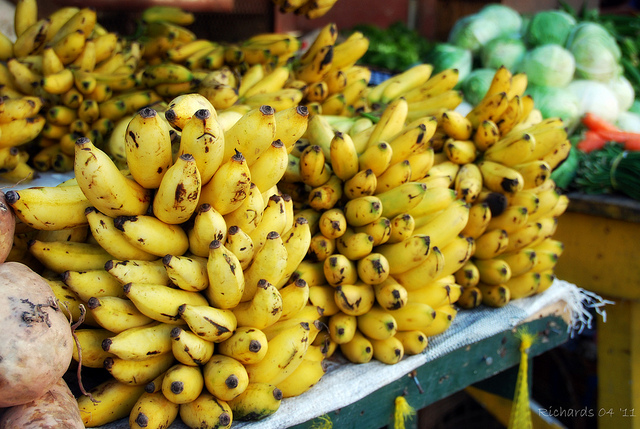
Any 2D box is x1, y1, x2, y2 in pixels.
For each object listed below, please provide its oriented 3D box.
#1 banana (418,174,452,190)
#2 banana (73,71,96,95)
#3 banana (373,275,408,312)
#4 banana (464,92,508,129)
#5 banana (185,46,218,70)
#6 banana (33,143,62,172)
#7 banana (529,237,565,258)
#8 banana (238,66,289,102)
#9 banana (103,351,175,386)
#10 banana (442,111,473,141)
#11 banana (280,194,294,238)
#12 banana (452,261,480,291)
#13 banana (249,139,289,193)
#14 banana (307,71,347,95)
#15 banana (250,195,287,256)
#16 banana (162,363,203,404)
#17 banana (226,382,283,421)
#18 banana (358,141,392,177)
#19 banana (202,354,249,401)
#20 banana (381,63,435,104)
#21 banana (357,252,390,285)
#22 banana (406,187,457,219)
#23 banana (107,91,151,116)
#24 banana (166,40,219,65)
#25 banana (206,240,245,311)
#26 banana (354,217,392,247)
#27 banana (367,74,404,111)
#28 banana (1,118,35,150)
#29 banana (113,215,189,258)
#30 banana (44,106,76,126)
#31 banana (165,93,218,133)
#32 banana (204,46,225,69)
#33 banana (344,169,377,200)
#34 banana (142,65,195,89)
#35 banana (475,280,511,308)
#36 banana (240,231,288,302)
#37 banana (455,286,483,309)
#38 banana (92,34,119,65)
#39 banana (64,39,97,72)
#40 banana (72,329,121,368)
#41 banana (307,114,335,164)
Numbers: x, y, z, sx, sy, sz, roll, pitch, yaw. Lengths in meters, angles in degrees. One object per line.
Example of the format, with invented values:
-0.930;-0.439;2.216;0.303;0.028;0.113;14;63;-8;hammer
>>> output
0.560;-0.153;2.782;0.211;0.074;0.058;-7;7;-22;banana
-1.333;-0.750;3.295;0.074;0.063;0.153;-26;47;-3;banana
0.353;0.365;2.672;0.119;0.118;0.289;-6;13;8;banana
0.825;-0.499;2.957;0.080;0.288;0.093;37;51;2;banana
-0.769;-1.016;3.776;0.139;0.107;0.276;20;38;4;banana
-1.630;-0.348;3.488;0.184;0.068;0.048;-44;39;-7;banana
1.205;0.176;3.056;0.181;0.074;0.093;1;5;0;banana
-0.337;-0.786;3.544;0.353;0.123;0.095;-35;56;-18;banana
-0.698;0.628;2.359;0.317;0.110;0.088;-17;4;19;banana
0.680;-0.435;2.926;0.187;0.095;0.096;40;4;-34;banana
-0.143;0.009;2.556;0.046;0.186;0.058;0;0;45;banana
0.757;0.299;2.953;0.131;0.098;0.278;10;20;14;banana
-0.184;-0.161;2.501;0.142;0.316;0.114;36;67;13;banana
0.063;-0.805;3.616;0.085;0.109;0.326;42;-10;-10;banana
-0.219;0.010;2.511;0.075;0.289;0.096;20;33;-33;banana
-0.539;0.667;2.299;0.155;0.109;0.120;8;38;-11;banana
-0.255;0.765;2.405;0.234;0.115;0.124;-13;29;20;banana
0.253;-0.250;2.651;0.143;0.169;0.071;18;37;2;banana
-0.382;0.649;2.328;0.193;0.169;0.138;18;37;2;banana
0.580;-0.741;3.582;0.113;0.430;0.143;5;68;-29;banana
0.244;0.246;2.619;0.142;0.202;0.154;-1;76;-5;banana
0.541;-0.046;2.761;0.080;0.286;0.090;-22;86;-49;banana
-1.122;-0.664;3.482;0.091;0.114;0.339;19;21;5;banana
-0.818;-1.083;3.893;0.478;0.121;0.155;-15;48;-44;banana
-0.379;0.213;2.346;0.115;0.334;0.155;-1;32;-16;banana
0.232;0.056;2.642;0.067;0.169;0.082;24;73;-15;banana
0.374;-0.713;3.468;0.306;0.101;0.080;-45;27;-8;banana
-1.655;-0.448;3.184;0.055;0.201;0.067;54;8;8;banana
-0.671;0.090;2.334;0.293;0.151;0.096;3;39;-17;banana
-1.488;-0.568;3.353;0.170;0.093;0.078;-5;8;-40;banana
-0.570;-0.389;2.462;0.171;0.161;0.253;1;-3;14;banana
-0.678;-1.001;3.769;0.183;0.067;0.086;-46;25;-6;banana
0.193;-0.129;2.672;0.085;0.175;0.099;39;54;-10;banana
-0.925;-0.828;3.557;0.352;0.133;0.121;-4;1;11;banana
0.872;0.402;2.888;0.079;0.150;0.224;0;-1;-34;banana
-0.230;0.208;2.405;0.100;0.398;0.126;33;31;18;banana
0.743;0.423;2.895;0.115;0.066;0.095;-26;72;-2;banana
-1.300;-1.012;3.573;0.069;0.085;0.261;31;62;-1;banana
-1.390;-0.880;3.428;0.080;0.297;0.108;27;47;-29;banana
-0.960;0.552;2.427;0.121;0.370;0.098;32;62;0;banana
0.002;-0.381;2.862;0.104;0.083;0.308;-10;61;-23;banana
